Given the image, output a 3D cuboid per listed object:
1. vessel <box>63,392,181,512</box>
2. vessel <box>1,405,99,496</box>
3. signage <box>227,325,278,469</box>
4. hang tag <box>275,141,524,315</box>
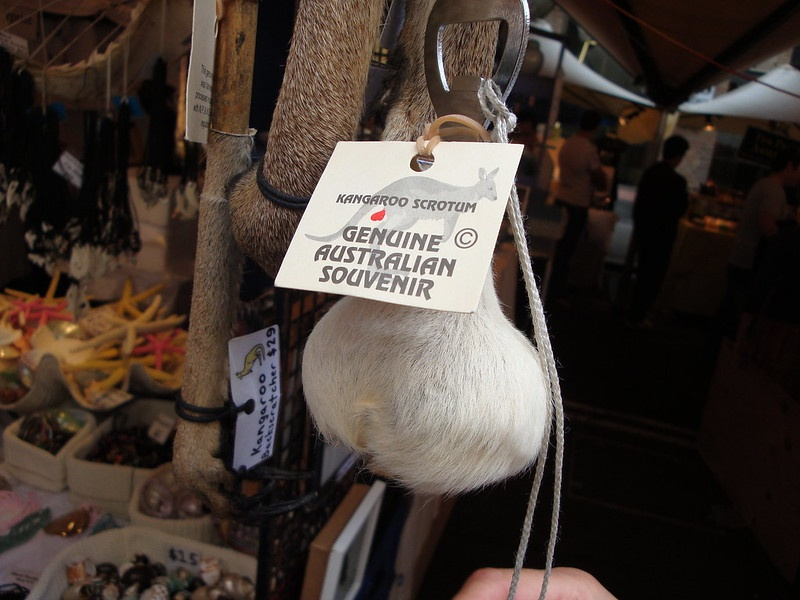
[{"bbox_3d":[-0.558,0.308,1.325,0.182,0.105,0.306,15,11,-21],"label":"vessel"},{"bbox_3d":[-0.657,0.270,1.224,0.100,0.090,0.137,13,8,-3],"label":"vessel"},{"bbox_3d":[-0.195,0.127,0.865,0.020,0.187,0.126,-1,0,22],"label":"signage"},{"bbox_3d":[-0.005,-0.075,0.619,0.149,0.148,0.012,15,-21,14],"label":"hang tag"}]
